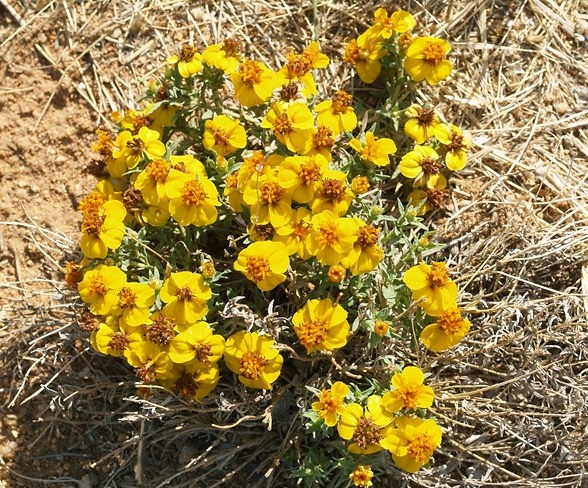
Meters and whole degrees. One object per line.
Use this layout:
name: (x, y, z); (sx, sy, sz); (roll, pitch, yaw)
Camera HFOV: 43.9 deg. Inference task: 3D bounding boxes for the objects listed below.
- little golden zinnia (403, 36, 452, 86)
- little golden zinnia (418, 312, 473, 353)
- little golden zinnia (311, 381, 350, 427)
little golden zinnia: (0.982, -1.352, 5.352); (0.348, 0.141, 0.316); (16, 82, 2)
little golden zinnia: (0.986, 0.567, 4.756); (0.305, 0.264, 0.126); (-14, 45, -6)
little golden zinnia: (0.233, 1.009, 4.625); (0.280, 0.110, 0.256); (-22, 69, 23)
